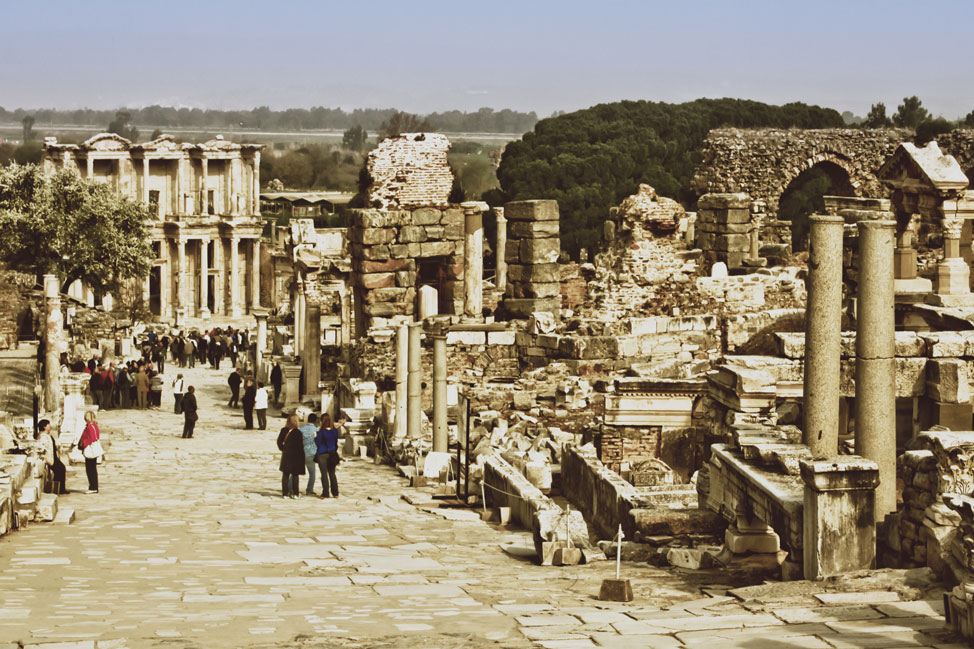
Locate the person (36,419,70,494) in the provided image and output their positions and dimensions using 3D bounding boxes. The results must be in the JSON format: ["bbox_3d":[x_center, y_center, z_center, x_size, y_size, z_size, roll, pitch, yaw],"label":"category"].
[{"bbox_3d":[-6.501,1.976,21.318,0.422,1.031,1.613,-1,3,-17],"label":"person"}]

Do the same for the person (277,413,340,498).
[{"bbox_3d":[-2.688,1.936,21.572,0.894,1.231,0.752,-1,3,-8],"label":"person"}]

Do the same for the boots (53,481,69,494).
[{"bbox_3d":[-6.344,2.397,21.279,0.135,0.198,0.409,0,3,7],"label":"boots"}]
